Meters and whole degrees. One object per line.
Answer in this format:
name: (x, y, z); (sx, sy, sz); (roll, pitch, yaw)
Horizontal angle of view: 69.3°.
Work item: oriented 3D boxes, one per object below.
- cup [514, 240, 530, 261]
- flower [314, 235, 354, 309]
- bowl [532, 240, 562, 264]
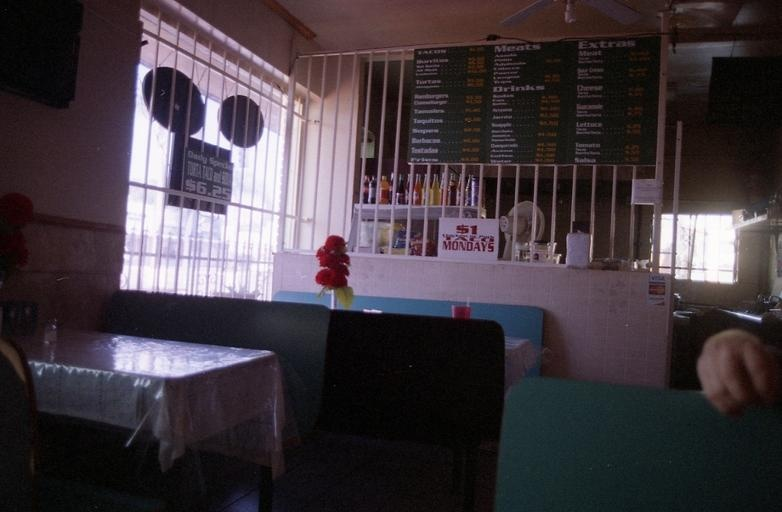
cup: (1.077, -0.034, 4.620); (0.127, 0.145, 0.214); (3, -2, 12)
flower: (-0.340, 0.093, 3.431); (0.225, 0.437, 0.269); (4, -3, -7)
bowl: (1.326, -0.024, 4.813); (0.189, 0.189, 0.739); (3, -1, 19)
